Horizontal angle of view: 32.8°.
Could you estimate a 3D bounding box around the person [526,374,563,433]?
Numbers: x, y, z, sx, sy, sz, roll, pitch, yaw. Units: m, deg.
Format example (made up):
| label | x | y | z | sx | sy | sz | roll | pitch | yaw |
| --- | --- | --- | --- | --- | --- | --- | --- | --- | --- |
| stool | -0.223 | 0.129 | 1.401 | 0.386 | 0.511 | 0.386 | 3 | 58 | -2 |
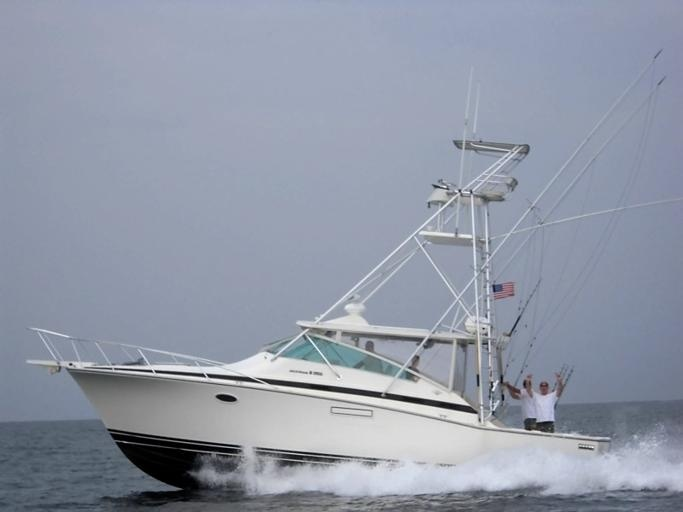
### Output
| label | x | y | z | sx | sy | sz | roll | pitch | yaw |
| --- | --- | --- | --- | --- | --- | --- | --- | --- | --- |
| person | 4.898 | 3.705 | 27.750 | 0.859 | 1.759 | 0.417 | 1 | -35 | 4 |
